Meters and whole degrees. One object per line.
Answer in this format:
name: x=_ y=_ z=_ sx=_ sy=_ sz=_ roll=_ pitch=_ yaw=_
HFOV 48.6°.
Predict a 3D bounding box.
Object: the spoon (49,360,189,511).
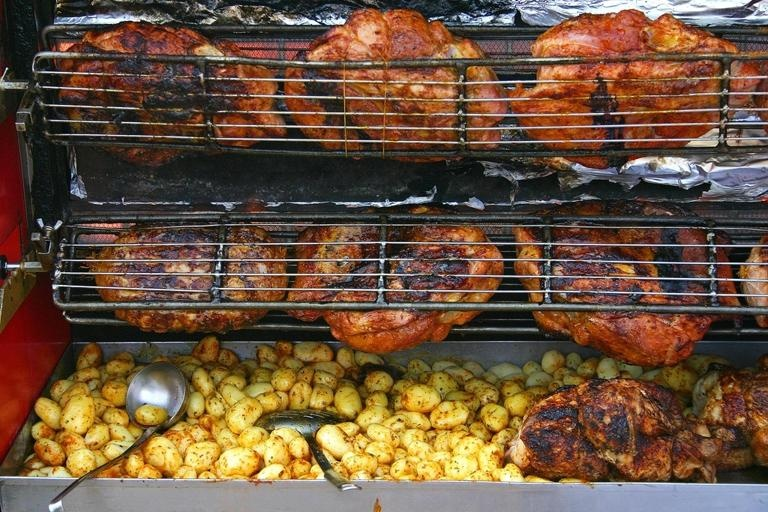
spoon: x=-1.424 y=0.930 z=4.711 sx=0.290 sy=0.174 sz=1.092 roll=30 pitch=48 yaw=22
